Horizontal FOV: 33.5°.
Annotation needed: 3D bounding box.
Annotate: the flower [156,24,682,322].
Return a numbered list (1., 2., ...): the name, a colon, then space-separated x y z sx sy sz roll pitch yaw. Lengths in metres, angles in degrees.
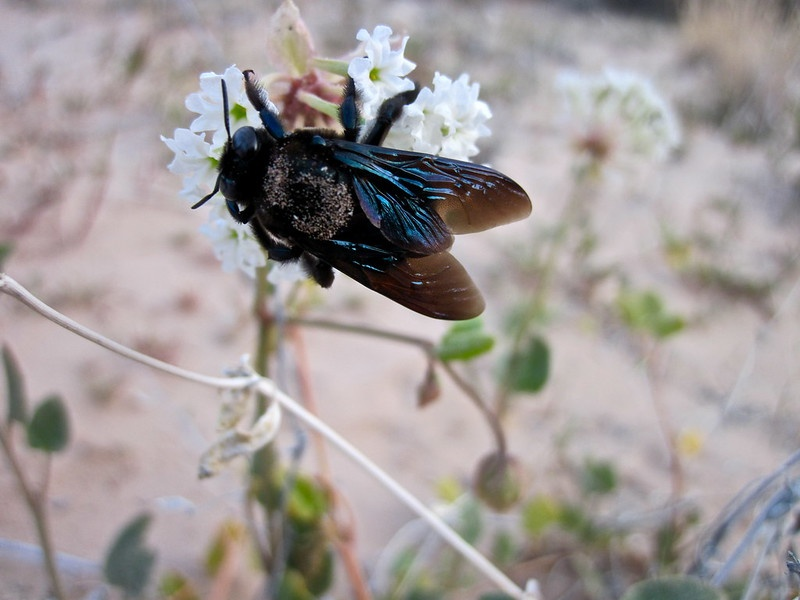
1. flower: -0.031 -0.105 1.042 0.268 0.167 0.166 10 64 11

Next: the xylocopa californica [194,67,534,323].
1. xylocopa californica: -0.053 -0.108 1.056 0.282 0.088 0.201 25 102 21
